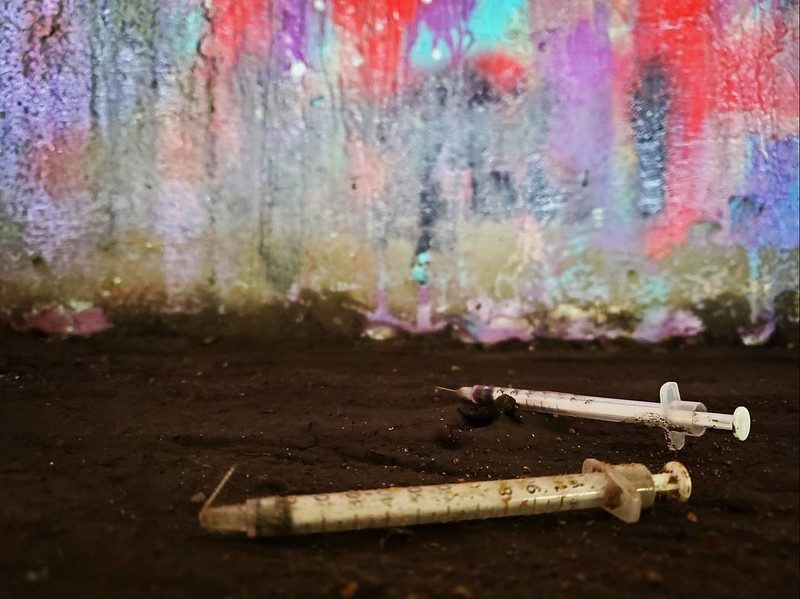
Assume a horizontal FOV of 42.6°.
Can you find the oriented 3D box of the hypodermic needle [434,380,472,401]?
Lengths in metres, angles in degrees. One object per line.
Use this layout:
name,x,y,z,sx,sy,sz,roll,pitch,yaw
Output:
hypodermic needle,0.224,0.372,4.258,0.064,0.044,0.225,-13,16,-40
